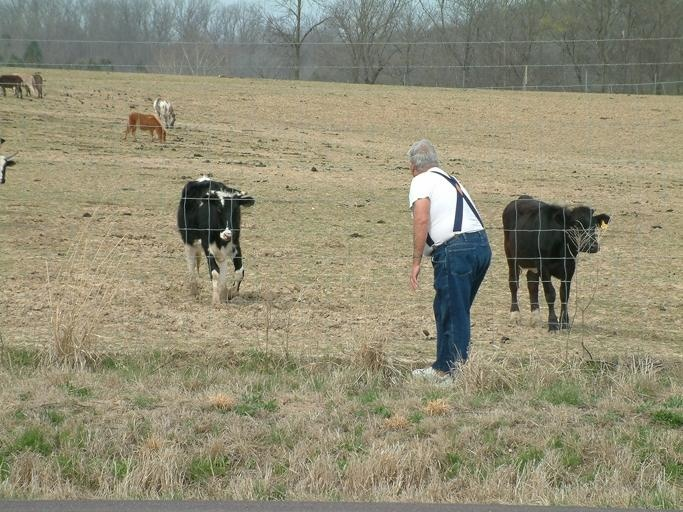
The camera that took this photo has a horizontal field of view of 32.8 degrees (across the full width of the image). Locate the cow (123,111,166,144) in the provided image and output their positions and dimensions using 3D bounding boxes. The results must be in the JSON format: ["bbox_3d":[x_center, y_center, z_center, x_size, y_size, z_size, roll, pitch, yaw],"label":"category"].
[{"bbox_3d":[-7.988,-5.320,48.025,1.801,1.072,0.438,8,2,14],"label":"cow"}]
